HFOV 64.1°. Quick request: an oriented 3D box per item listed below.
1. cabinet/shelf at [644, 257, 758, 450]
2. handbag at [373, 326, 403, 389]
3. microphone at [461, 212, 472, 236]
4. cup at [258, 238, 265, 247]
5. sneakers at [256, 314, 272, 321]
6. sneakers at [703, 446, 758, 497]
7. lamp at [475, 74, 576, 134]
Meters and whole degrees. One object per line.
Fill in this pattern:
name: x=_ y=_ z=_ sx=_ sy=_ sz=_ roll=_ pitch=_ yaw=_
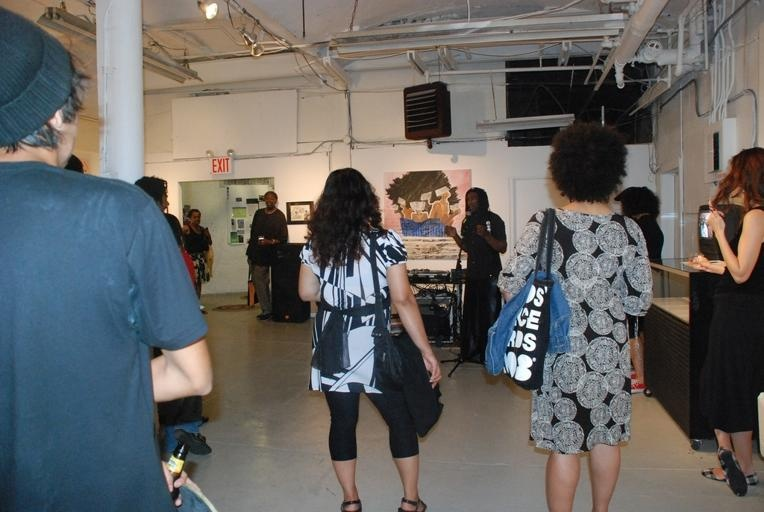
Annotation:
cabinet/shelf: x=2.140 y=0.657 z=4.029 sx=0.394 sy=1.123 sz=1.246 roll=1 pitch=5 yaw=8
handbag: x=0.034 y=0.550 z=3.282 sx=0.216 sy=0.284 sz=0.115 roll=3 pitch=-3 yaw=-12
microphone: x=0.870 y=-0.353 z=6.249 sx=0.109 sy=0.274 sz=0.091 roll=9 pitch=-4 yaw=7
cup: x=-1.768 y=-0.212 z=8.935 sx=0.066 sy=0.118 sz=0.132 roll=-1 pitch=3 yaw=-13
sneakers: x=-1.724 y=0.897 z=8.967 sx=0.177 sy=0.080 sz=0.198 roll=-2 pitch=4 yaw=-27
sneakers: x=2.157 y=1.354 z=3.798 sx=0.127 sy=0.420 sz=0.164 roll=-31 pitch=-1 yaw=13
lamp: x=1.717 y=-2.052 z=8.429 sx=1.812 sy=0.973 sz=0.565 roll=-4 pitch=9 yaw=4
